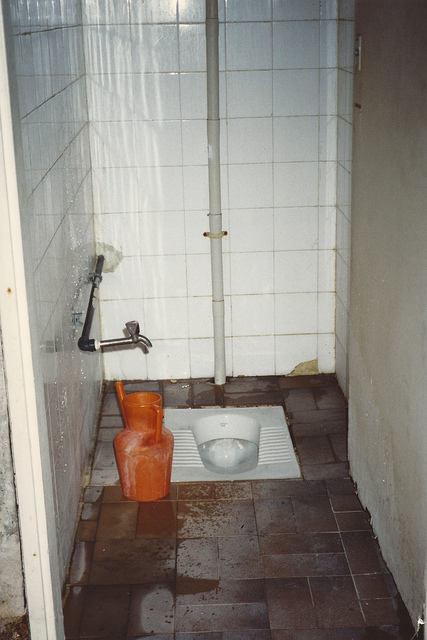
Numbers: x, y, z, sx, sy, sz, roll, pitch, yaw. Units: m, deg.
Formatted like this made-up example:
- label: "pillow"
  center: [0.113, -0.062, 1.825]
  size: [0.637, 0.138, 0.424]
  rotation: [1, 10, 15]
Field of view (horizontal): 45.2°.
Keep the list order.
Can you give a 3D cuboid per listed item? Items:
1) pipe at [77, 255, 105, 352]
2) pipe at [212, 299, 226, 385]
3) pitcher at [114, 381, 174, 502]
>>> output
- label: "pipe"
  center: [-0.596, -0.082, 2.661]
  size: [0.103, 0.497, 0.063]
  rotation: [9, -7, 8]
- label: "pipe"
  center: [0.043, 0.155, 3.459]
  size: [0.075, 0.589, 0.115]
  rotation: [-1, 11, -1]
- label: "pitcher"
  center: [-0.341, 0.572, 2.462]
  size: [0.285, 0.527, 0.254]
  rotation: [15, 21, 39]
